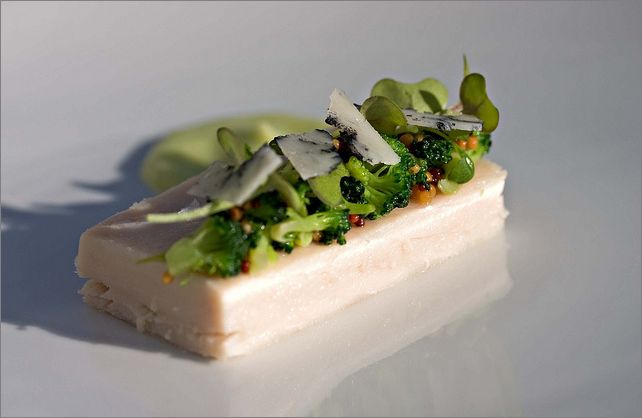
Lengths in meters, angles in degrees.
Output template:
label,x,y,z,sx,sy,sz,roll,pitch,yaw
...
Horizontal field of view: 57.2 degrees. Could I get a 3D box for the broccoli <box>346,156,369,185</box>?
label,x,y,z,sx,sy,sz,roll,pitch,yaw
broccoli,0.239,-0.260,3.847,0.102,0.172,0.075,-42,-2,27

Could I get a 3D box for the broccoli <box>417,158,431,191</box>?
label,x,y,z,sx,sy,sz,roll,pitch,yaw
broccoli,0.700,-0.241,4.072,0.095,0.196,0.063,-15,14,-16

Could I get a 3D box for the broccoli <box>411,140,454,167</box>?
label,x,y,z,sx,sy,sz,roll,pitch,yaw
broccoli,0.783,-0.407,4.155,0.226,0.189,0.095,5,-4,-9

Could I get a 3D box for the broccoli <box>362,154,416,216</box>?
label,x,y,z,sx,sy,sz,roll,pitch,yaw
broccoli,0.454,-0.140,3.912,0.333,0.352,0.144,-5,26,-43
